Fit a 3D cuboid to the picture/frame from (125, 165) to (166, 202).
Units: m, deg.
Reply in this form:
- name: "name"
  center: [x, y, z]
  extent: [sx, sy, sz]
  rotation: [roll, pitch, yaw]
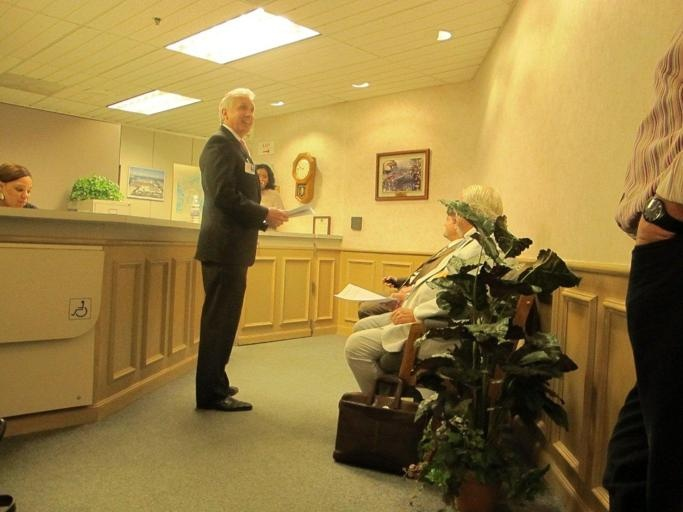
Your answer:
- name: "picture/frame"
  center: [-3.719, -1.390, 9.001]
  extent: [0.839, 0.707, 0.113]
  rotation: [0, 7, -44]

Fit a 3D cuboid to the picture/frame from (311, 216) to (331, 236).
- name: "picture/frame"
  center: [-0.289, -0.440, 6.794]
  extent: [0.317, 0.332, 0.045]
  rotation: [1, -1, 30]

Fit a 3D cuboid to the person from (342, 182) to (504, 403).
- name: "person"
  center: [0.434, 0.299, 2.998]
  extent: [0.816, 1.491, 0.596]
  rotation: [6, 14, 9]

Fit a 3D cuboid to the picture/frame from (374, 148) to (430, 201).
- name: "picture/frame"
  center: [0.794, -1.056, 6.163]
  extent: [0.728, 0.619, 0.058]
  rotation: [0, -1, 29]

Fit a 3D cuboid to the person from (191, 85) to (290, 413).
- name: "person"
  center: [-0.762, -0.070, 3.395]
  extent: [0.519, 2.257, 0.398]
  rotation: [3, 2, -17]

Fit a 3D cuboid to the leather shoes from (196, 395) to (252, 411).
- name: "leather shoes"
  center: [-0.808, 1.030, 3.333]
  extent: [0.370, 0.119, 0.136]
  rotation: [-2, -5, -5]

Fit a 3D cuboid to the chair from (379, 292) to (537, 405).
- name: "chair"
  center: [0.623, 0.495, 2.760]
  extent: [0.783, 0.799, 0.620]
  rotation: [0, -15, 8]

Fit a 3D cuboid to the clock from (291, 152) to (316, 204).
- name: "clock"
  center: [-0.557, -1.135, 7.021]
  extent: [0.400, 0.722, 0.144]
  rotation: [5, 3, 41]
